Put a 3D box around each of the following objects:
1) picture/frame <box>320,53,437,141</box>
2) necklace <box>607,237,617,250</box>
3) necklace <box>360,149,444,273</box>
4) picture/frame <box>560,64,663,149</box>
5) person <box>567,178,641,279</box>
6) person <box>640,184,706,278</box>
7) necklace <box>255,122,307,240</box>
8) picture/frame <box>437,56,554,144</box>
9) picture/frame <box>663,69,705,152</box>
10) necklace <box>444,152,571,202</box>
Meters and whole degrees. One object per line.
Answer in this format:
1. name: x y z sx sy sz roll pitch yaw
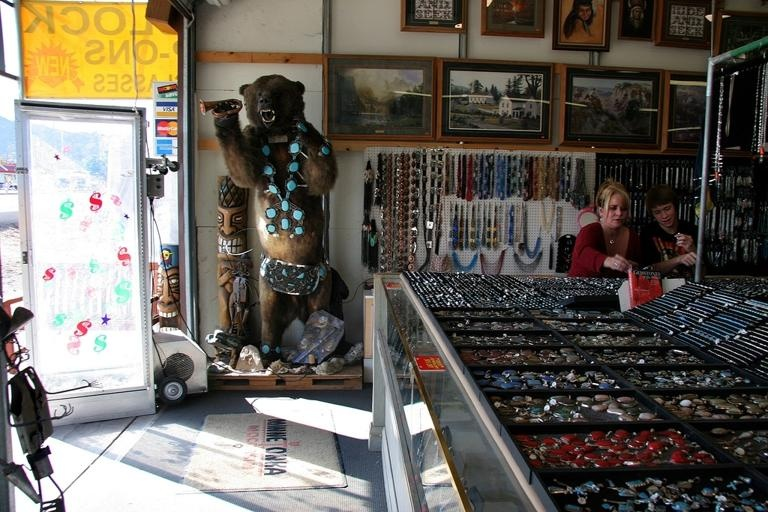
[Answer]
1. picture/frame: -0.086 -1.468 4.819 1.066 0.655 0.048 0 2 -6
2. necklace: 1.727 -0.091 4.019 0.068 0.060 0.027 18 -6 -13
3. necklace: 0.182 -0.423 4.935 0.737 1.132 0.268 3 13 4
4. picture/frame: 2.101 -1.423 4.990 0.925 0.665 0.060 1 6 -6
5. person: 1.568 -0.171 3.722 0.446 0.676 0.975 8 14 25
6. person: 2.517 -0.178 4.701 0.468 0.852 1.054 9 14 30
7. necklace: -0.791 -0.609 4.191 0.334 0.886 0.225 0 13 -10
8. picture/frame: 0.990 -1.448 4.892 0.934 0.545 0.066 1 1 -4
9. picture/frame: 2.881 -1.375 5.059 0.373 0.700 0.142 1 13 -3
10. necklace: 1.203 -0.749 4.980 1.289 0.440 0.108 1 13 -5
